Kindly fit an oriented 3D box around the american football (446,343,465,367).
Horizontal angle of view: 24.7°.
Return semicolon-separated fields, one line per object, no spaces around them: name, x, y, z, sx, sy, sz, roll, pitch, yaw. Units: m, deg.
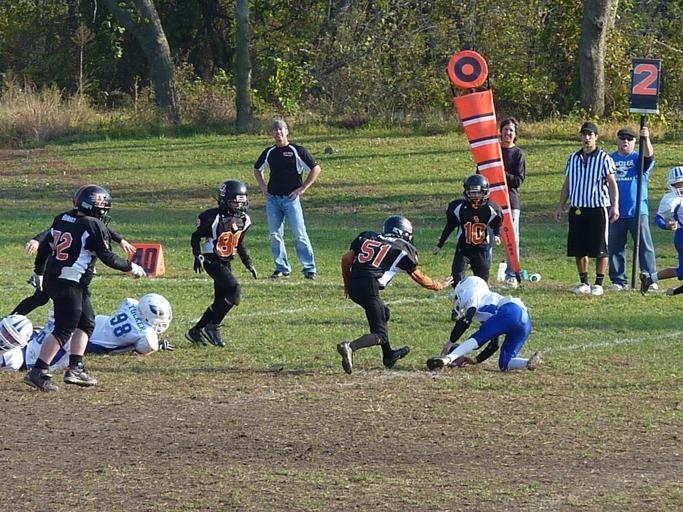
american football;2.201;1.905;29.378;0.305;0.405;0.389;17;-20;-6

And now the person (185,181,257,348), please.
person;-2.308;0.167;29.947;1.144;3.170;0.445;-3;3;-7

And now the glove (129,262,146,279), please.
glove;-3.799;0.268;28.958;0.315;0.176;0.408;25;1;-25

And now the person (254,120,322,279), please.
person;-1.152;-1.189;33.685;1.273;3.430;1.155;-2;3;-2

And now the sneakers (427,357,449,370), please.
sneakers;1.797;1.985;28.761;0.365;0.201;0.169;-3;-1;11

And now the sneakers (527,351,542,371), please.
sneakers;3.606;1.964;29.065;0.225;0.351;0.167;35;46;7

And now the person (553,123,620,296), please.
person;5.183;-0.968;32.474;1.132;3.569;0.662;-1;3;15

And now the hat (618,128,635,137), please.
hat;6.009;-2.562;32.847;0.305;0.232;0.542;-1;4;16

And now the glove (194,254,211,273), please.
glove;-2.685;0.159;29.810;0.325;0.327;0.096;-4;9;-31

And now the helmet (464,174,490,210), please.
helmet;2.675;-1.280;30.910;0.474;0.535;0.613;0;2;1

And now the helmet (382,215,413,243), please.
helmet;1.121;-0.501;29.432;0.417;0.527;0.552;11;11;39

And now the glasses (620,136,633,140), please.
glasses;5.998;-2.428;32.631;0.242;0.077;0.082;-2;3;-1

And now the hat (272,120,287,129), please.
hat;-1.354;-2.834;33.219;0.311;0.238;0.253;1;0;32

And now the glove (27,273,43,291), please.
glove;-5.765;0.498;29.425;0.390;0.350;0.315;1;6;2
